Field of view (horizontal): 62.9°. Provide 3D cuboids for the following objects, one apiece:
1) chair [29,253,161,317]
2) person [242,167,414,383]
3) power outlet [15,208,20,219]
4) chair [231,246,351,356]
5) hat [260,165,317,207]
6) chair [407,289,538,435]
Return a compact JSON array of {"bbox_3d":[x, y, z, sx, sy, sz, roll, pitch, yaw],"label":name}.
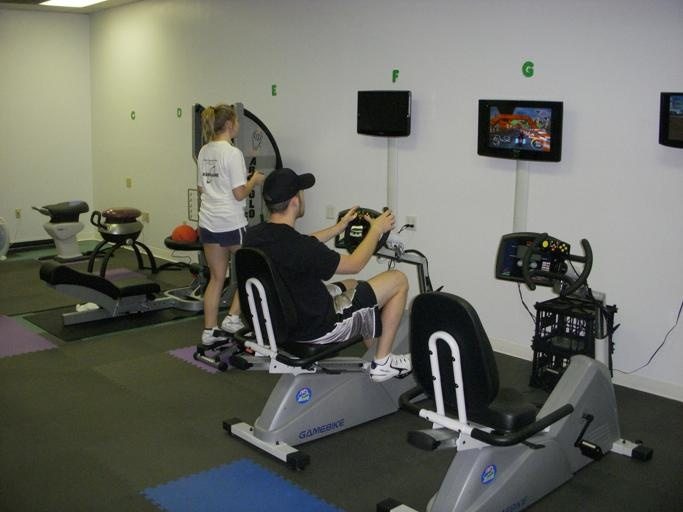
[{"bbox_3d":[-2.271,0.291,5.471,1.040,0.529,0.319,-5,19,-39],"label":"chair"},{"bbox_3d":[-0.123,-0.004,3.943,1.297,1.588,0.968,-14,19,-36],"label":"person"},{"bbox_3d":[-4.859,-0.648,8.399,0.083,0.157,0.040,-9,16,-34],"label":"power outlet"},{"bbox_3d":[-0.318,0.209,3.494,0.665,0.700,0.587,-13,18,-43],"label":"chair"},{"bbox_3d":[-0.308,-0.418,3.375,0.321,0.171,0.197,-33,42,-27],"label":"hat"},{"bbox_3d":[0.664,0.503,2.783,0.588,0.724,0.457,-9,10,-44],"label":"chair"}]
